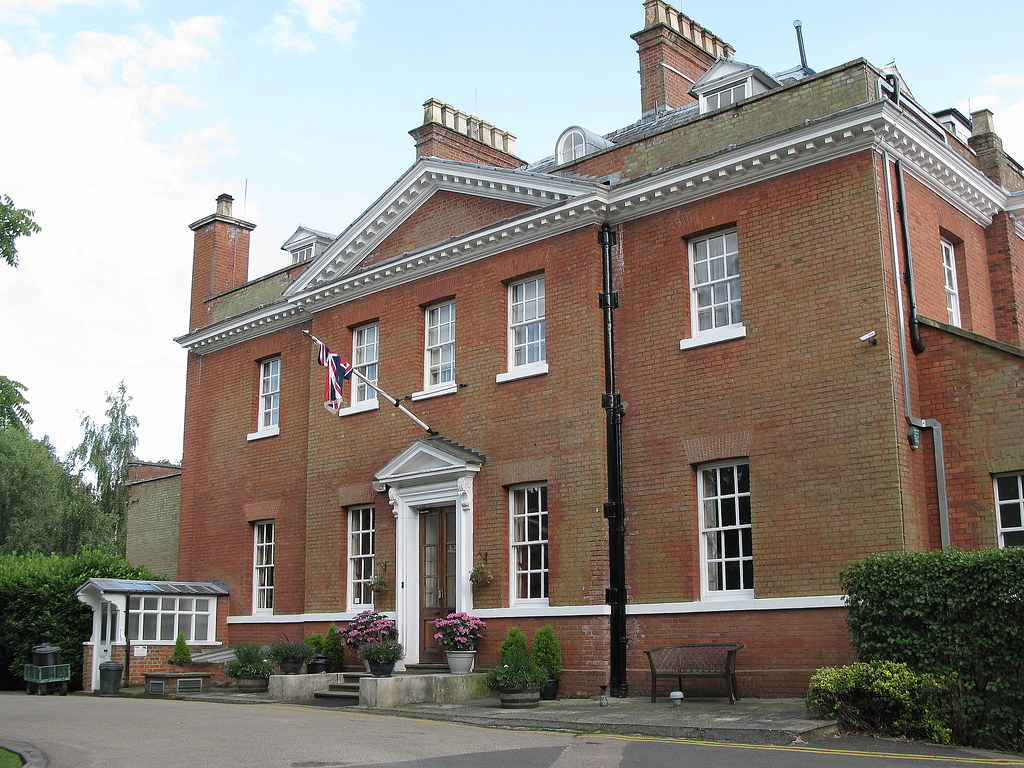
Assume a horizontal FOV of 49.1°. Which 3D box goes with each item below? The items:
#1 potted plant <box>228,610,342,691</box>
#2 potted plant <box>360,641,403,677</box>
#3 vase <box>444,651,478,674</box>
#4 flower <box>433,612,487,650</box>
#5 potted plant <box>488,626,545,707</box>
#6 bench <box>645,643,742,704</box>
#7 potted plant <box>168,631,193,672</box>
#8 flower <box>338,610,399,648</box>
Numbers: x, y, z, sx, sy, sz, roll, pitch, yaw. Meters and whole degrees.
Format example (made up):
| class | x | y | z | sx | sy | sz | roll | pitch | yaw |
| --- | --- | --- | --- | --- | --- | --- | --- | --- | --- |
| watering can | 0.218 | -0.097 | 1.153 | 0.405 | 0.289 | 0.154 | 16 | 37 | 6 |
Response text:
| class | x | y | z | sx | sy | sz | roll | pitch | yaw |
| --- | --- | --- | --- | --- | --- | --- | --- | --- | --- |
| potted plant | -5.055 | 6.168 | 25.013 | 2.274 | 1.233 | 1.404 | -12 | -21 | 28 |
| potted plant | -2.644 | 5.645 | 22.889 | 0.712 | 0.547 | 0.708 | 1 | -23 | -1 |
| vase | -1.048 | 5.662 | 22.731 | 0.496 | 0.328 | 0.497 | 3 | -22 | -8 |
| flower | -1.074 | 5.030 | 23.018 | 0.855 | 0.583 | 0.848 | 1 | -10 | -6 |
| potted plant | -0.142 | 5.237 | 21.015 | 1.260 | 1.456 | 1.231 | 10 | -23 | -34 |
| bench | 3.307 | 5.169 | 19.961 | 1.692 | 0.960 | 0.709 | -10 | -12 | 37 |
| potted plant | -7.930 | 6.409 | 26.840 | 0.519 | 0.865 | 0.503 | -6 | -19 | 13 |
| flower | -3.116 | 5.302 | 24.316 | 1.174 | 0.835 | 0.700 | -16 | -23 | 36 |
